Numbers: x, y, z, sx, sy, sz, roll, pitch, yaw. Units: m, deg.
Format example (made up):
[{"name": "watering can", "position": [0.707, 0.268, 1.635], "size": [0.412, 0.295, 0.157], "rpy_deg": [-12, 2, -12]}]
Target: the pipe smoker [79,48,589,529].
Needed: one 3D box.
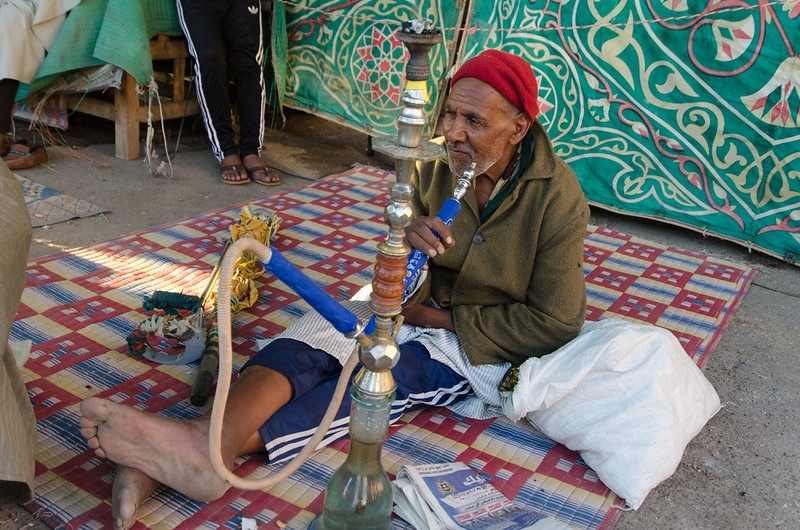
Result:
[{"name": "pipe smoker", "position": [-0.388, 0.099, 3.241], "size": [2.845, 1.832, 1.332], "rpy_deg": [-27, 54, -21]}]

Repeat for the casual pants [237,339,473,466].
[{"name": "casual pants", "position": [-0.201, 0.502, 2.825], "size": [0.930, 0.259, 0.495], "rpy_deg": [-13, 30, -29]}]
